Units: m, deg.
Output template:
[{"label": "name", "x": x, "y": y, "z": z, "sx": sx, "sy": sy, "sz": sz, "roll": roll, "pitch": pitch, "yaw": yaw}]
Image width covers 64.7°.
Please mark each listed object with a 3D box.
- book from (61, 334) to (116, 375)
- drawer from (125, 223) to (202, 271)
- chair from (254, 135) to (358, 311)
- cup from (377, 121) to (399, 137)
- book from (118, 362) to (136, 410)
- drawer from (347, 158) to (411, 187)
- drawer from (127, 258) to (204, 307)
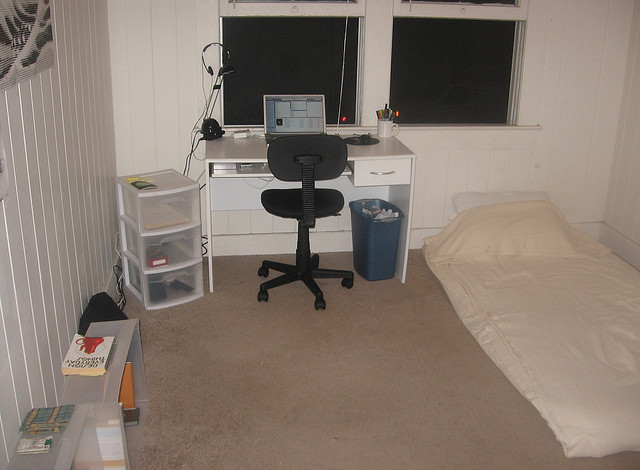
[{"label": "book", "x": -0.985, "y": 0.504, "z": 2.150, "sx": 0.175, "sy": 0.072, "sz": 0.197, "roll": -2, "pitch": 23, "yaw": -6}, {"label": "drawer", "x": -0.972, "y": 0.060, "z": 3.226, "sx": 0.324, "sy": 0.200, "sz": 0.325, "roll": -10, "pitch": 27, "yaw": -28}, {"label": "chair", "x": -0.087, "y": -0.133, "z": 3.332, "sx": 0.737, "sy": 1.100, "sz": 0.634, "roll": -3, "pitch": 22, "yaw": -8}, {"label": "cup", "x": 0.496, "y": -0.772, "z": 3.703, "sx": 0.162, "sy": 0.112, "sz": 0.105, "roll": 1, "pitch": 31, "yaw": -1}, {"label": "book", "x": -0.914, "y": 0.725, "z": 2.386, "sx": 0.039, "sy": 0.271, "sz": 0.100, "roll": 7, "pitch": 23, "yaw": 15}, {"label": "drawer", "x": 0.412, "y": -0.410, "z": 3.319, "sx": 0.238, "sy": 0.119, "sz": 0.264, "roll": -5, "pitch": 23, "yaw": -11}, {"label": "drawer", "x": -1.009, "y": 0.297, "z": 3.344, "sx": 0.350, "sy": 0.219, "sz": 0.341, "roll": -9, "pitch": 22, "yaw": -27}]
